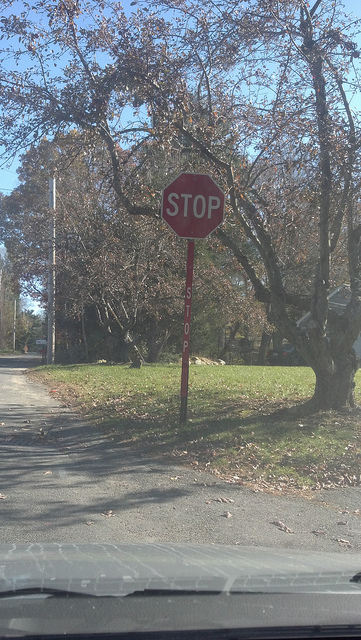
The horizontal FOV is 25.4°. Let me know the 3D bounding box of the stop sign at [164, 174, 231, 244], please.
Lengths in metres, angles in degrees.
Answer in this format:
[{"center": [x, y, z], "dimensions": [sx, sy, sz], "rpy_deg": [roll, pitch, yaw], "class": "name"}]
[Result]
[{"center": [0.195, -1.634, 11.519], "dimensions": [0.935, 0.959, 0.101], "rpy_deg": [1, 0, -11], "class": "stop sign"}]
